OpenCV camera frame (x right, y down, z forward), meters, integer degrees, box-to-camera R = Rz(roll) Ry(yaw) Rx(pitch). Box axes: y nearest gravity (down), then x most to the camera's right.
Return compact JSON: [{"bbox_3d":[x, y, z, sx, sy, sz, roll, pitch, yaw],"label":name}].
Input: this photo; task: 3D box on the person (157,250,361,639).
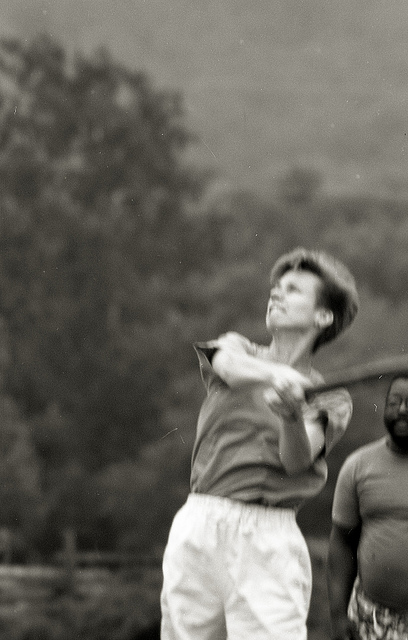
[{"bbox_3d":[0.133,0.295,3.008,0.533,0.921,0.500,-4,3,7],"label":"person"}]
